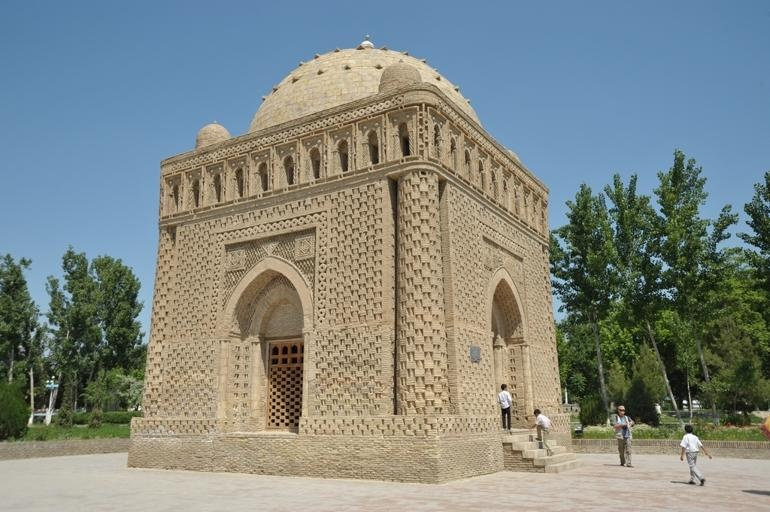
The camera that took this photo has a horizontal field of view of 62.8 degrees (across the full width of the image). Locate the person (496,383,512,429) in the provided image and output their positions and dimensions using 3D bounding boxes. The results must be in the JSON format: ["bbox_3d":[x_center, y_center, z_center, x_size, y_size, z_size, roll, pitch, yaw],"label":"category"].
[{"bbox_3d":[3.800,4.788,19.915,0.393,1.545,1.675,-7,-20,9],"label":"person"}]

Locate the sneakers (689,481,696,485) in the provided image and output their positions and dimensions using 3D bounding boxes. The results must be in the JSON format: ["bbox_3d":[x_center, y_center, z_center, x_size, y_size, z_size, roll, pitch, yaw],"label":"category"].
[{"bbox_3d":[7.852,5.790,16.109,0.139,0.095,0.180,-13,-21,23],"label":"sneakers"}]

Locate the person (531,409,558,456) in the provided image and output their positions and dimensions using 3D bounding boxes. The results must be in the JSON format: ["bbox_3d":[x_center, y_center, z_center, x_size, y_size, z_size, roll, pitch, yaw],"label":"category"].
[{"bbox_3d":[4.772,5.280,19.028,0.623,1.250,0.722,1,-5,-37],"label":"person"}]
